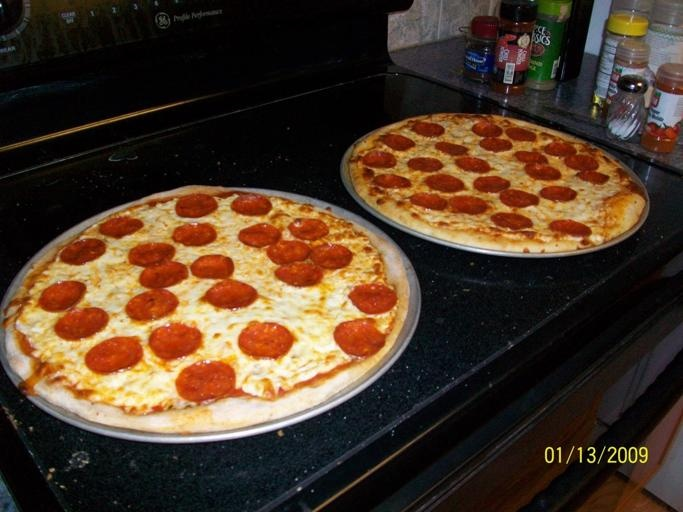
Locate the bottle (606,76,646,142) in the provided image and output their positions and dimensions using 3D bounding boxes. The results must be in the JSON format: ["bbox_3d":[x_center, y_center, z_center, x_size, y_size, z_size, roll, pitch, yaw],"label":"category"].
[{"bbox_3d":[1.067,-0.537,2.056,0.152,0.210,0.132,0,33,13],"label":"bottle"}]
